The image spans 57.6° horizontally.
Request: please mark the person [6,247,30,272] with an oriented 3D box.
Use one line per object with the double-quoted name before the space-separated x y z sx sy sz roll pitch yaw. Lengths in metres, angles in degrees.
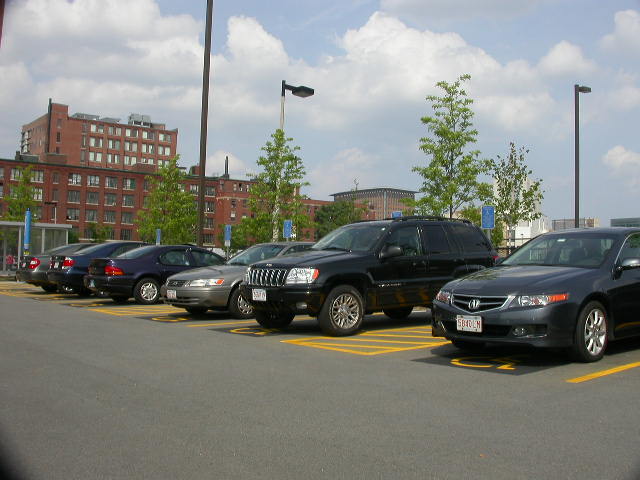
"person" -14.775 0.891 28.437 0.758 1.366 0.591 6 -1 -8
